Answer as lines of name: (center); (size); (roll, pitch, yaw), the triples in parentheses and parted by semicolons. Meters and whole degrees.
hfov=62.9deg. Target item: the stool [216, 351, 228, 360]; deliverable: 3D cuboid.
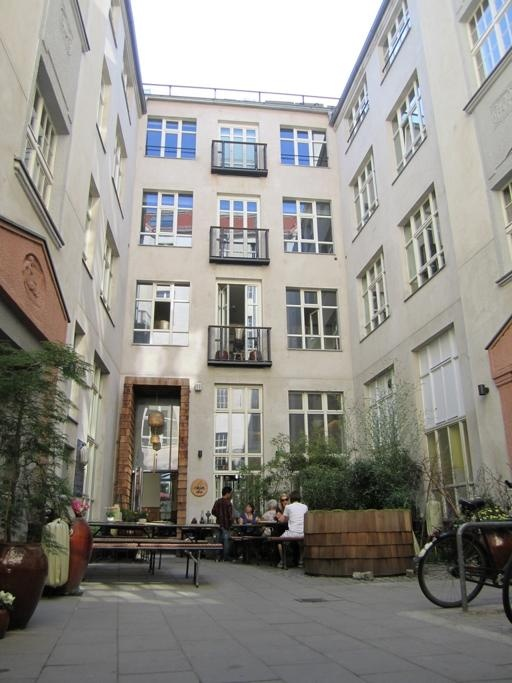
stool: (-1.291, 0.558, 15.703); (0.454, 0.443, 0.282); (4, -18, -11)

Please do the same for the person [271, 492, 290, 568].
person: (0.628, 4.280, 9.623); (0.383, 1.451, 0.454); (-9, -21, 27)

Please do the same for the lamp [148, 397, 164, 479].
lamp: (-3.505, 3.453, 14.621); (0.474, 2.170, 0.505); (0, 0, -24)

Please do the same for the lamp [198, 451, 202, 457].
lamp: (-1.981, 3.942, 14.748); (0.135, 0.316, 0.151); (0, -12, -4)

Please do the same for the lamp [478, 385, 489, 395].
lamp: (4.636, 0.978, 8.527); (0.166, 0.196, 0.131); (14, -26, -12)
